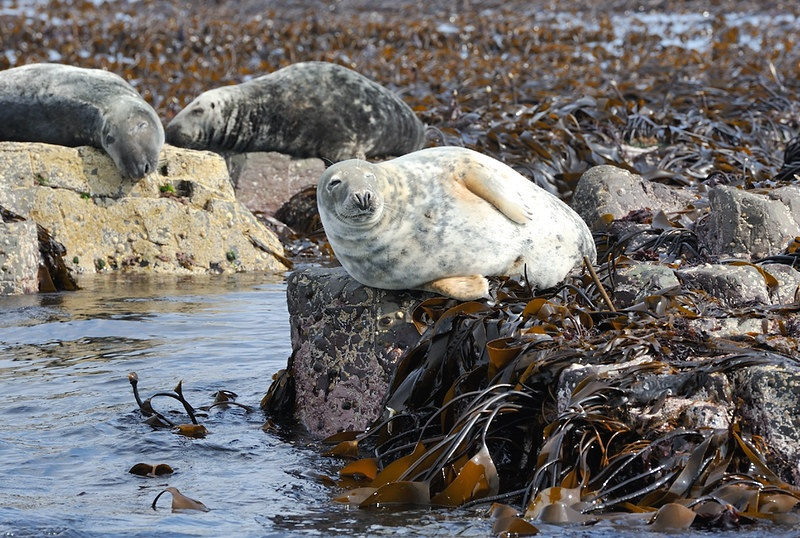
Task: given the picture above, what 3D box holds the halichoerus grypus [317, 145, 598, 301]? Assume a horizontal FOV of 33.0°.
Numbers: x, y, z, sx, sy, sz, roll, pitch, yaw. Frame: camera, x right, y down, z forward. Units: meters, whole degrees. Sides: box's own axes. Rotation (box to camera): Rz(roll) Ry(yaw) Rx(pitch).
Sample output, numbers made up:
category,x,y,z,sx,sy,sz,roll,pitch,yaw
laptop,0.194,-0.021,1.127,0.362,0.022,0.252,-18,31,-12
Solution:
category,x,y,z,sx,sy,sz,roll,pitch,yaw
halichoerus grypus,0.438,-0.354,10.908,1.964,0.667,1.364,6,4,-28
